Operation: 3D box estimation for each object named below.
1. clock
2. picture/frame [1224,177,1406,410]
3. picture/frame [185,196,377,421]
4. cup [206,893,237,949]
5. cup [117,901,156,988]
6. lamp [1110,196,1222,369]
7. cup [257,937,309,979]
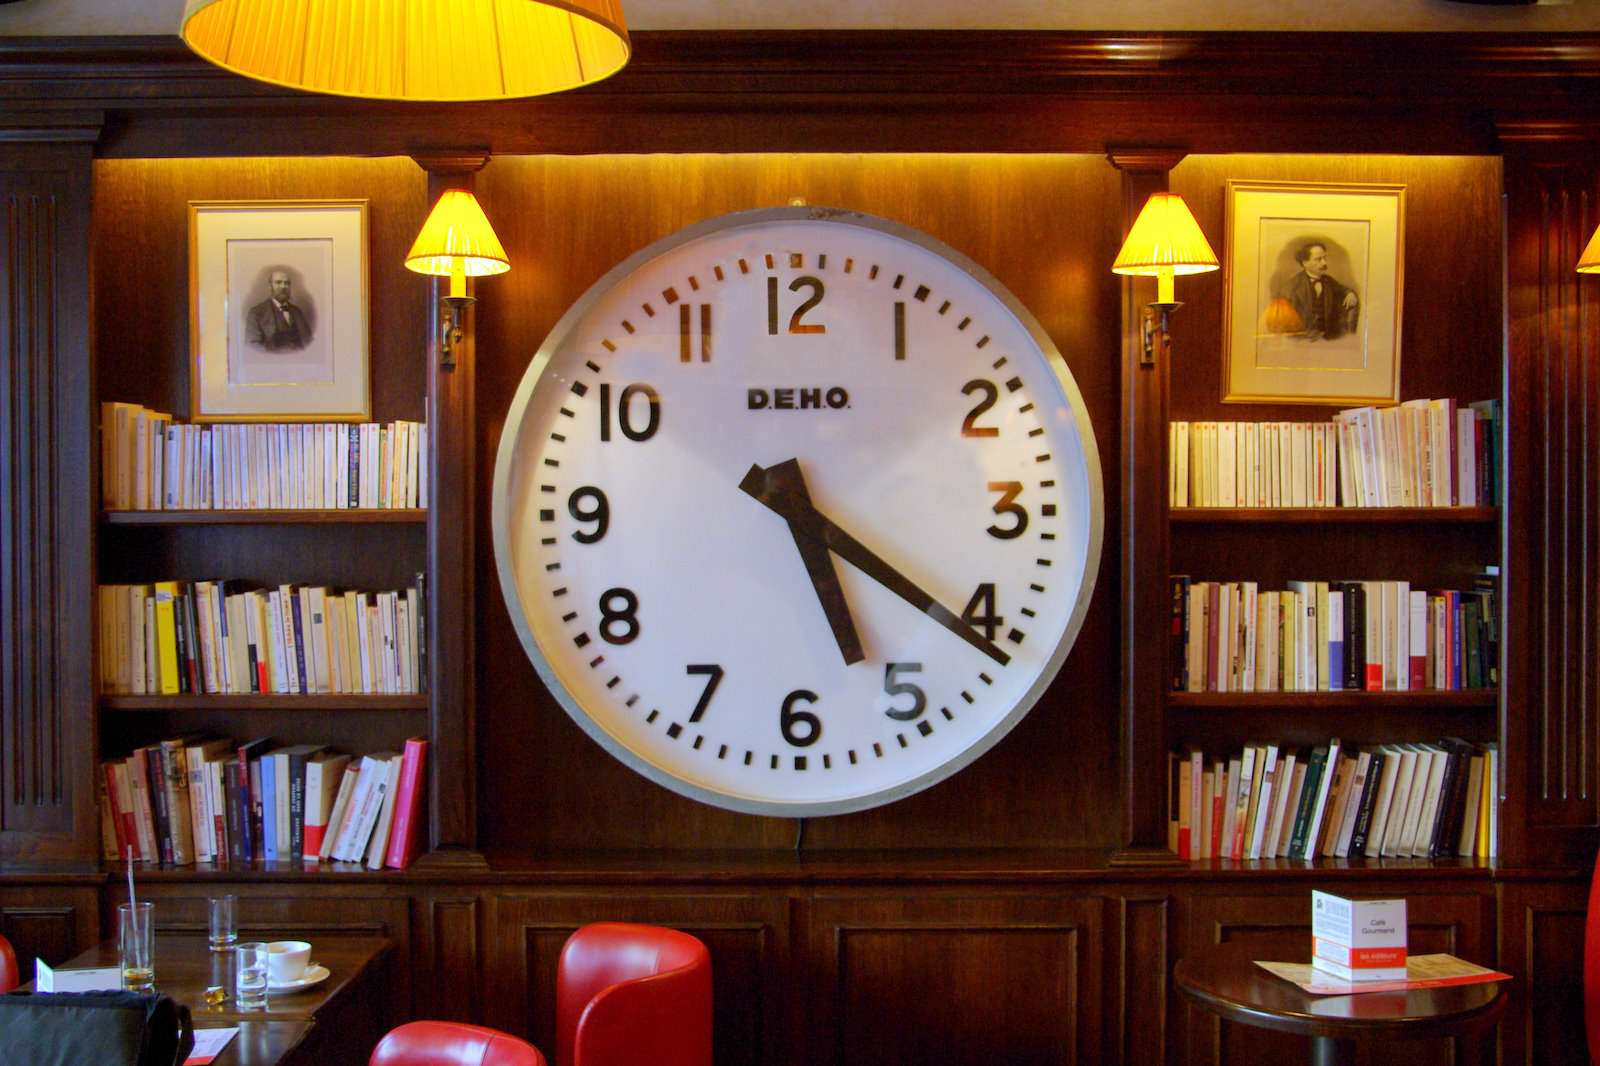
[{"bbox_3d":[0.040,-0.034,6.530,1.833,1.915,0.107,1,2,3],"label":"clock"},{"bbox_3d":[1.607,-0.760,6.659,0.682,0.901,0.036,1,-2,0],"label":"picture/frame"},{"bbox_3d":[-1.626,-0.706,6.671,0.654,0.821,0.041,-1,-1,-2],"label":"picture/frame"},{"bbox_3d":[-1.666,1.122,6.155,0.090,0.140,0.077,-12,11,-17],"label":"cup"},{"bbox_3d":[-1.867,1.166,5.999,0.111,0.243,0.109,-9,11,2],"label":"cup"},{"bbox_3d":[1.107,-0.772,6.469,0.296,0.508,0.400,-7,11,8],"label":"lamp"},{"bbox_3d":[-1.479,1.237,6.152,0.100,0.066,0.103,-1,-9,0],"label":"cup"}]
